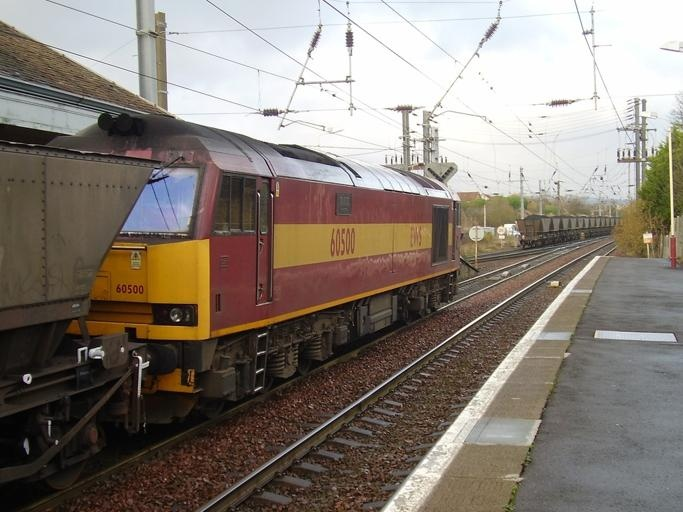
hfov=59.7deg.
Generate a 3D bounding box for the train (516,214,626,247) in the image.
[{"bbox_3d":[29.541,-3.883,74.663,24.051,3.169,2.651,-5,-5,-42],"label":"train"}]
